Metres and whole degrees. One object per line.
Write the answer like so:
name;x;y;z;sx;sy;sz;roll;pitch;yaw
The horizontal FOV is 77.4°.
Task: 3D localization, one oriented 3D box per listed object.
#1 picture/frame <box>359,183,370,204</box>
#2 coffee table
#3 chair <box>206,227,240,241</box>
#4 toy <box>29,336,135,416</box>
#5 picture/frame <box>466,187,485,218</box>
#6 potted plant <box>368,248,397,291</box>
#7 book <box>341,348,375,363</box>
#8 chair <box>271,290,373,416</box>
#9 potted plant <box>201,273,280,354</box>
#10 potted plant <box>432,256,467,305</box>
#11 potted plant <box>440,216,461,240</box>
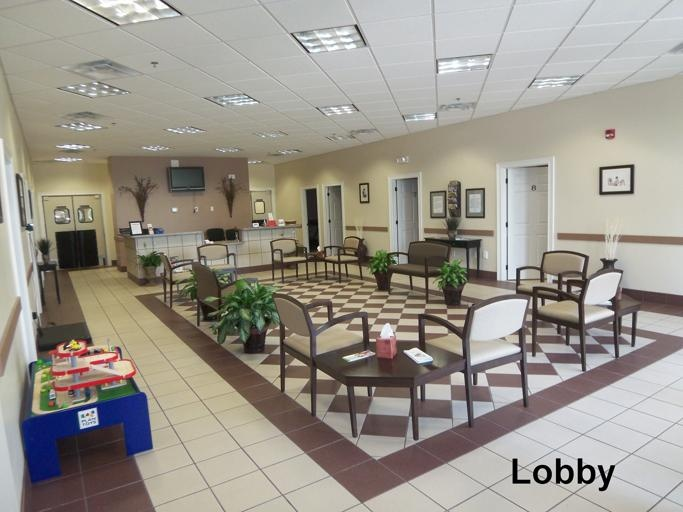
picture/frame;0.626;-1.792;11.874;0.065;0.572;0.437;-11;13;-31
coffee table;0.423;1.164;3.833;0.990;0.584;0.935;-10;13;-33
chair;-3.530;-0.657;12.575;0.721;0.366;1.262;-11;13;-34
toy;-2.279;1.023;3.722;0.598;0.304;0.791;-2;7;-31
picture/frame;2.853;-1.155;9.124;0.082;0.653;0.457;-11;14;-33
potted plant;0.899;0.241;8.619;0.697;0.869;0.716;3;9;25
book;0.158;0.892;3.819;0.204;0.028;0.110;-6;10;-34
chair;-0.249;0.806;4.778;1.157;1.592;0.984;-7;10;-34
potted plant;-1.313;0.716;5.489;0.992;0.797;0.995;3;5;36
potted plant;1.829;0.401;7.361;0.734;0.873;0.664;2;7;16
potted plant;2.457;-0.670;9.493;0.302;0.493;0.561;-1;11;13
